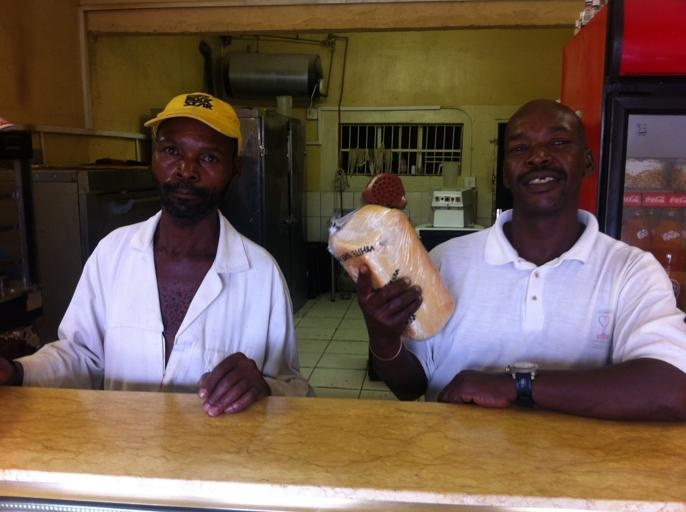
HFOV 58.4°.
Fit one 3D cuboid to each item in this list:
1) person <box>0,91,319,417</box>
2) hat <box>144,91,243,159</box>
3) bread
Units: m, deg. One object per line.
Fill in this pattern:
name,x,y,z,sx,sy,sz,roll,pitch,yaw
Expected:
person,-0.590,-0.033,2.111,0.933,1.081,0.759,0,9,2
hat,-0.544,-0.515,2.300,0.316,0.224,0.406,3,-1,-1
bread,0.158,0.064,1.917,0.256,0.415,0.233,-14,7,35
